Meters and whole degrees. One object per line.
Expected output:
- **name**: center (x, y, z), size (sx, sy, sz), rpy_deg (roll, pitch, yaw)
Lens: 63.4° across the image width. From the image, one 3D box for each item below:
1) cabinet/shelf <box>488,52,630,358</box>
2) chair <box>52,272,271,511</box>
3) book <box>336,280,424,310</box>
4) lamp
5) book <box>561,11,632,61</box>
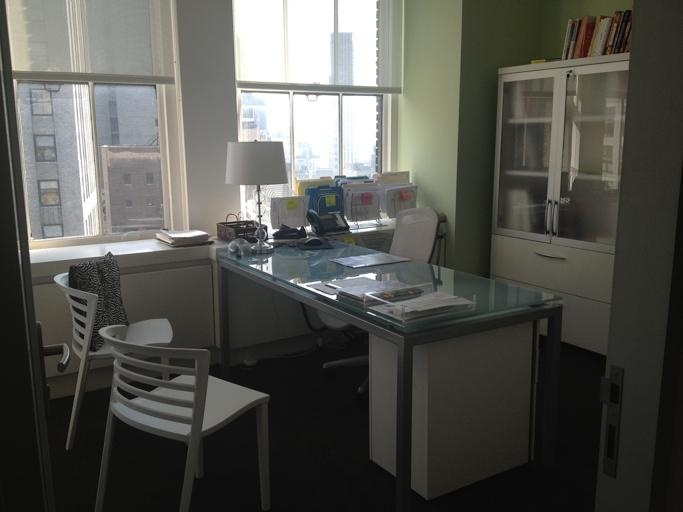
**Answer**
- **cabinet/shelf**: center (1.756, -0.413, 4.174), size (0.504, 1.936, 1.210), rpy_deg (-6, 12, -28)
- **chair**: center (-0.941, 0.675, 2.742), size (0.605, 0.976, 0.671), rpy_deg (19, 27, 35)
- **book**: center (0.158, 0.153, 2.526), size (0.378, 0.036, 0.389), rpy_deg (-12, 18, -39)
- **lamp**: center (-0.569, -0.396, 3.597), size (0.404, 0.684, 0.325), rpy_deg (12, 18, 42)
- **book**: center (1.734, -1.481, 3.716), size (0.141, 0.284, 0.484), rpy_deg (-9, 16, -32)
